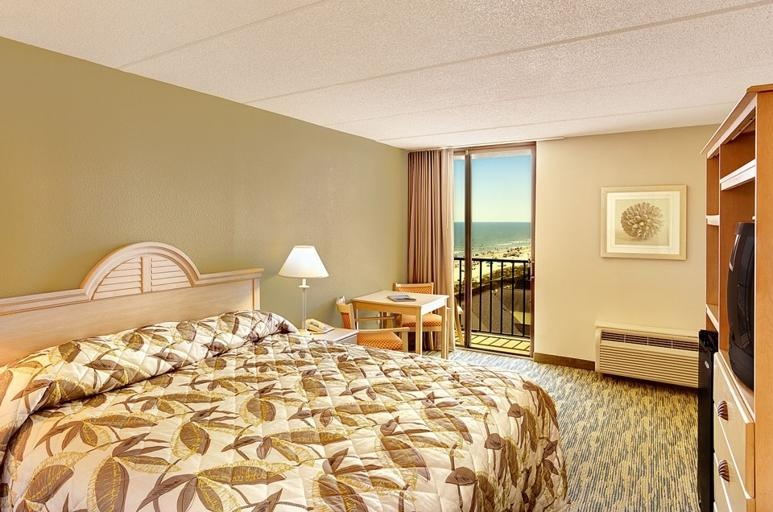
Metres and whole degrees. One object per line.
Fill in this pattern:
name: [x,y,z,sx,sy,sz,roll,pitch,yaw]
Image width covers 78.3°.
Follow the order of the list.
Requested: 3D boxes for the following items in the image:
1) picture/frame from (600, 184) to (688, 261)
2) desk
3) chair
picture/frame: [2.855,-0.378,5.212,0.895,0.896,0.070,0,3,31]
desk: [0.224,0.615,5.503,0.935,0.833,0.834,0,0,32]
chair: [0.218,0.672,5.500,0.886,0.785,0.827,-1,0,27]
